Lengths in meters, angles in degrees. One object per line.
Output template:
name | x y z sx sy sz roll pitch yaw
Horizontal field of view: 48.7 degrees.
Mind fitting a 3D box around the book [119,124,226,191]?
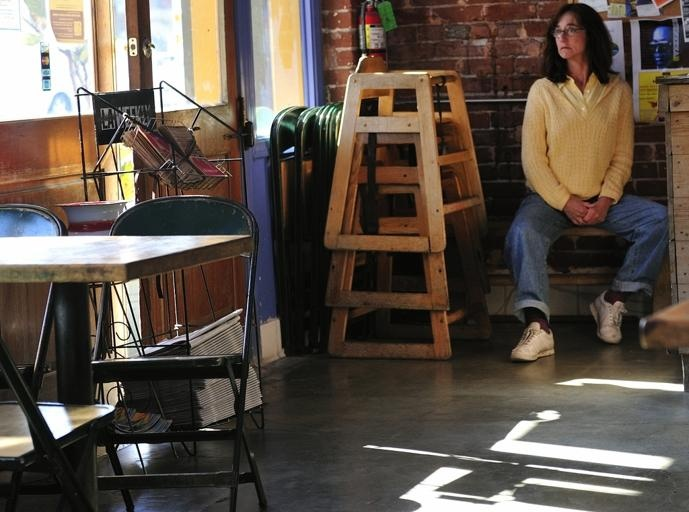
book | -0.649 -0.379 2.946 0.206 0.257 0.373 4 10 39

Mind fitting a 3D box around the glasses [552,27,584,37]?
glasses | 1.241 -1.248 4.250 0.165 0.052 0.069 0 8 17

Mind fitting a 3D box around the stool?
stool | 0.373 -0.269 4.360 0.804 1.615 0.951 1 9 24

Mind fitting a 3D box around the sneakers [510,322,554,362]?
sneakers | 0.985 0.461 3.986 0.116 0.159 0.338 0 2 35

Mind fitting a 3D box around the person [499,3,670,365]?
person | 1.254 -0.461 4.259 0.957 1.898 0.578 -5 8 -20
